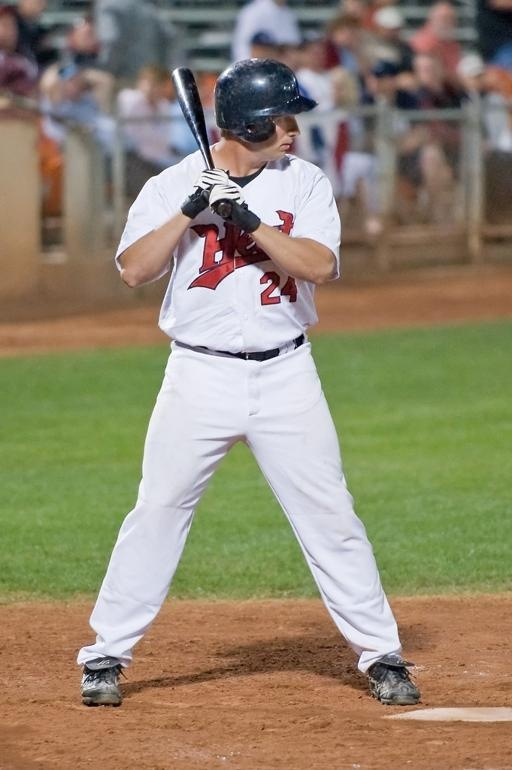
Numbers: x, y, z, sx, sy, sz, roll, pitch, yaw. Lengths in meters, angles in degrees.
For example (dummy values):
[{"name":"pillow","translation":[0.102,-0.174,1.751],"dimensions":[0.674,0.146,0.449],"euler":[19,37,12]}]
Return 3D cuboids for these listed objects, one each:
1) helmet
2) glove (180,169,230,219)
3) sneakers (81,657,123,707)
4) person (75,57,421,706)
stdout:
[{"name":"helmet","translation":[0.019,-0.715,2.704],"dimensions":[0.293,0.171,0.216],"euler":[3,20,17]},{"name":"glove","translation":[-0.129,-0.451,2.574],"dimensions":[0.086,0.122,0.053],"euler":[37,-28,-21]},{"name":"sneakers","translation":[-0.397,0.767,2.756],"dimensions":[0.082,0.063,0.160],"euler":[0,3,-9]},{"name":"person","translation":[-0.018,0.007,2.755],"dimensions":[0.904,1.686,0.409],"euler":[-1,7,-6]}]
